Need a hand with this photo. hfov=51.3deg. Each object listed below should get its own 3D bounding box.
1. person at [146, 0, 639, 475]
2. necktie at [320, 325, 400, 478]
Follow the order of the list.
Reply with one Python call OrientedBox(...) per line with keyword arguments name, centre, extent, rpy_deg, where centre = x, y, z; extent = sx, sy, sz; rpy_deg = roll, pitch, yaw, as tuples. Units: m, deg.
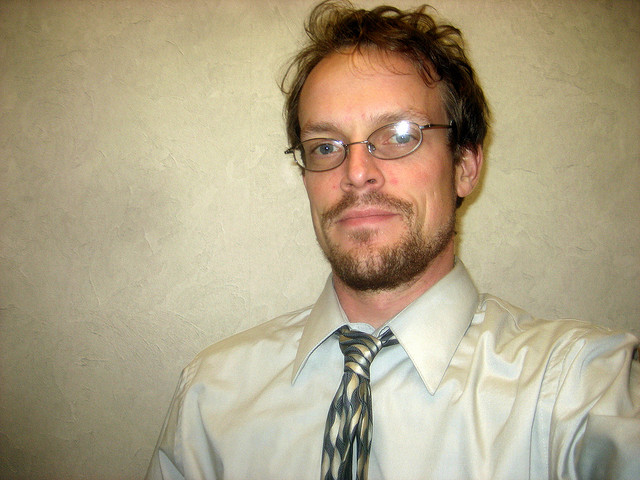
OrientedBox(name="person", centre=(0.302, 0.001, 2.240), extent=(1.345, 1.282, 0.697), rpy_deg=(-6, -18, 18))
OrientedBox(name="necktie", centre=(0.089, 0.471, 1.947), extent=(0.128, 0.408, 0.176), rpy_deg=(-4, -9, 27))
